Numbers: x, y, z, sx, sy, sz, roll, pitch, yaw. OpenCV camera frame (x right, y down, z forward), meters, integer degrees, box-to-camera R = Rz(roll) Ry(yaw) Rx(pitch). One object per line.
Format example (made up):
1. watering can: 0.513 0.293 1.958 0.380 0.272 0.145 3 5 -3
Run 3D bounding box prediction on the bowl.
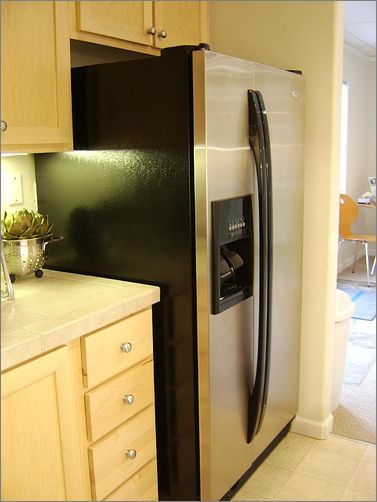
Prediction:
1. bowl: -0.523 0.023 1.364 0.194 0.110 0.127 0 1 38
